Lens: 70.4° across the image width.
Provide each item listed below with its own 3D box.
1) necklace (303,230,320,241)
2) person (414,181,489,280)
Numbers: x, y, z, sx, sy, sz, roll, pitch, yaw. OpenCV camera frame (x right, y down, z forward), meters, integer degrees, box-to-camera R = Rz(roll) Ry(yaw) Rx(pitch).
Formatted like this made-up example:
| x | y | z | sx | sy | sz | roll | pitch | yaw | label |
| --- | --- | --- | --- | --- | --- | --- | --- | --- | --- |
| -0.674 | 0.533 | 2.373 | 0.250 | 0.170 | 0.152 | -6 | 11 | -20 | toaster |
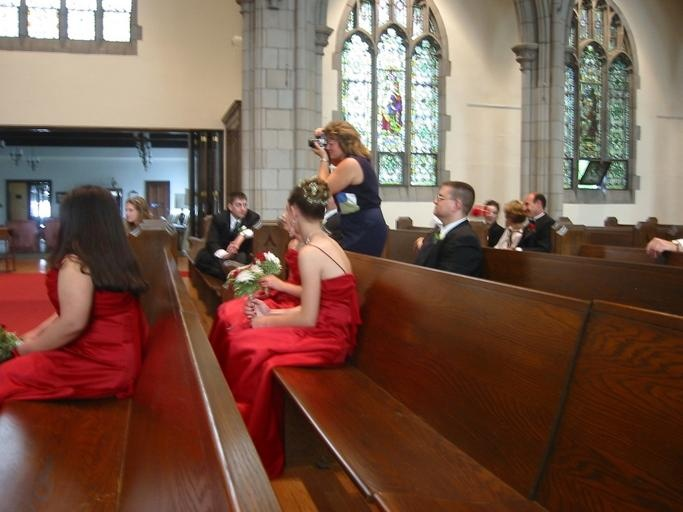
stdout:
| x | y | z | sx | sy | sz | roll | pitch | yaw | label |
| --- | --- | --- | --- | --- | --- | --- | --- | --- | --- |
| -0.174 | -0.107 | 2.887 | 0.056 | 0.035 | 0.075 | 6 | -23 | -36 | necklace |
| 0.776 | -0.189 | 3.711 | 0.441 | 0.798 | 0.912 | 1 | 14 | -1 | person |
